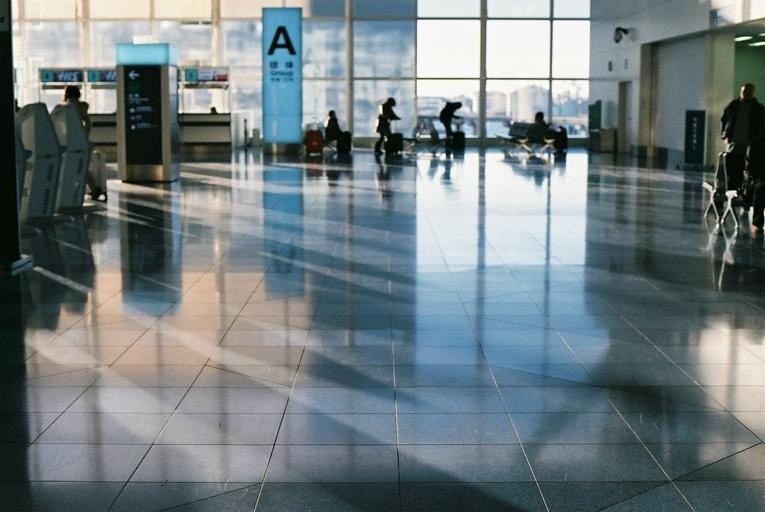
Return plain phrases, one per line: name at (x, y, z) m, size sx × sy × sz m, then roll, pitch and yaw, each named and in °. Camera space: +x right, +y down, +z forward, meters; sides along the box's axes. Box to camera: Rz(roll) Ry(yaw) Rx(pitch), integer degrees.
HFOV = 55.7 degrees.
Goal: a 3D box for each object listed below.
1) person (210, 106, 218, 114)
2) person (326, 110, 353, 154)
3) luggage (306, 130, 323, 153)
person at (-5.390, -4.716, 23.292) m, size 0.203 × 0.166 × 1.330 m, roll -4°, pitch 15°, yaw -13°
person at (-1.322, -3.712, 21.680) m, size 0.739 × 1.310 × 1.155 m, roll -2°, pitch 14°, yaw -4°
luggage at (-1.972, -3.331, 21.104) m, size 0.500 × 0.710 × 0.493 m, roll -2°, pitch 14°, yaw -6°
